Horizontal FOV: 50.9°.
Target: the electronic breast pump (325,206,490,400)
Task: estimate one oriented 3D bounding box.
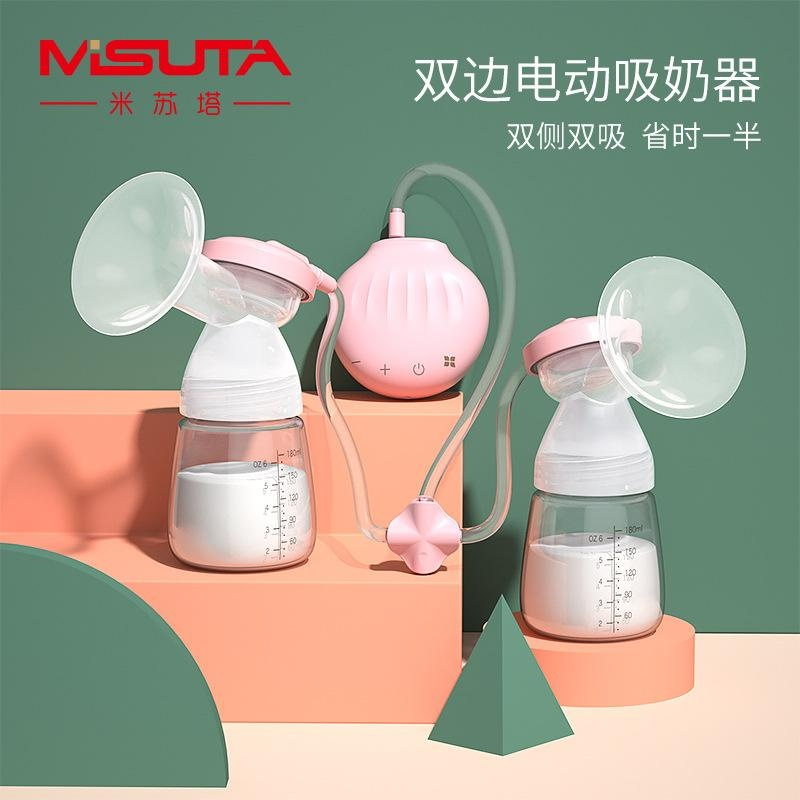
[{"bbox_3d":[0.017,-0.108,1.026,0.171,0.263,0.204,2,-1,14],"label":"electronic breast pump"}]

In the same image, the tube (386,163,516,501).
[{"bbox_3d":[0.051,-0.180,1.052,0.173,0.037,0.560,19,40,-18],"label":"tube"}]

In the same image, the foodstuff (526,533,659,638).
[{"bbox_3d":[0.220,0.181,0.874,0.125,0.111,0.136,-1,3,22],"label":"foodstuff"}]
